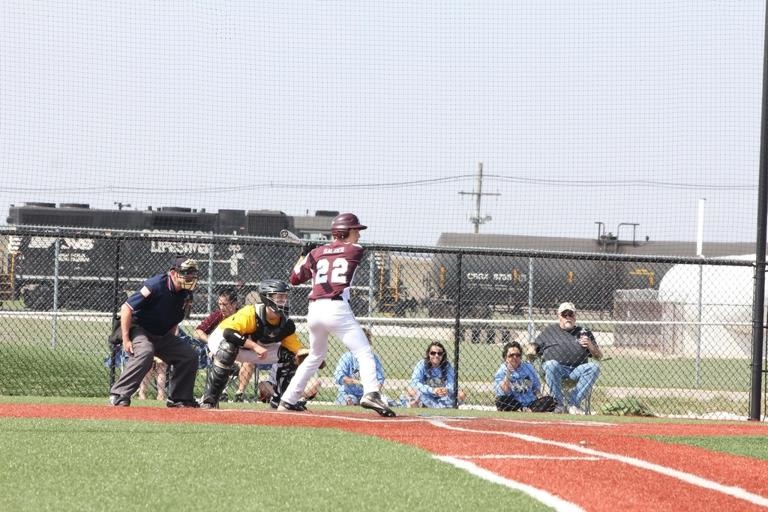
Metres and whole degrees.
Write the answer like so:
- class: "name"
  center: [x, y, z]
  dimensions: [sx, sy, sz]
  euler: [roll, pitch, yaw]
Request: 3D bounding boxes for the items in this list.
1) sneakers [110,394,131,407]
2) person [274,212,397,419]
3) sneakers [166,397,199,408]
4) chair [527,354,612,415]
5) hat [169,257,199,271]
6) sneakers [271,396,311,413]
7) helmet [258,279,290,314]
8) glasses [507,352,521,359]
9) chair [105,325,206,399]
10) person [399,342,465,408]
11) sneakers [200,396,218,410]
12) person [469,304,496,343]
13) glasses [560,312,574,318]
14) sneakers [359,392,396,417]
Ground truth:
- class: "sneakers"
  center: [-4.282, 2.350, 22.961]
  dimensions: [0.396, 0.177, 0.136]
  euler: [9, 3, 23]
- class: "person"
  center: [-0.798, 0.914, 22.837]
  dimensions: [1.452, 3.257, 0.930]
  euler: [-1, -6, 42]
- class: "sneakers"
  center: [-3.282, 2.425, 23.157]
  dimensions: [0.554, 0.230, 0.193]
  euler: [-1, 8, 1]
- class: "chair"
  center: [3.282, 2.281, 24.889]
  dimensions: [0.867, 0.943, 0.959]
  euler: [1, -15, -1]
- class: "hat"
  center: [-3.269, 0.135, 23.141]
  dimensions: [0.439, 0.263, 0.351]
  euler: [3, -5, 8]
- class: "sneakers"
  center: [-1.516, 2.411, 23.170]
  dimensions: [0.663, 0.232, 0.286]
  euler: [-1, -18, -9]
- class: "helmet"
  center: [-1.794, 0.665, 23.155]
  dimensions: [0.526, 0.524, 0.465]
  euler: [-2, 4, 2]
- class: "glasses"
  center: [2.233, 1.730, 24.598]
  dimensions: [0.223, 0.076, 0.095]
  euler: [5, -5, -12]
- class: "chair"
  center: [-3.755, 1.726, 23.287]
  dimensions: [1.521, 1.452, 0.993]
  euler: [12, -13, -42]
- class: "person"
  center: [0.868, 2.194, 24.723]
  dimensions: [1.331, 1.391, 0.956]
  euler: [1, -2, -17]
- class: "sneakers"
  center: [-2.857, 2.414, 23.110]
  dimensions: [0.133, 0.161, 0.370]
  euler: [3, 6, -3]
- class: "person"
  center: [2.549, 1.693, 36.283]
  dimensions: [0.564, 1.031, 0.565]
  euler: [-8, -2, 9]
- class: "glasses"
  center: [3.235, 1.043, 25.106]
  dimensions: [0.124, 0.087, 0.123]
  euler: [-1, 4, -32]
- class: "sneakers"
  center: [-0.139, 2.448, 23.131]
  dimensions: [0.434, 0.205, 0.150]
  euler: [30, -54, -15]
